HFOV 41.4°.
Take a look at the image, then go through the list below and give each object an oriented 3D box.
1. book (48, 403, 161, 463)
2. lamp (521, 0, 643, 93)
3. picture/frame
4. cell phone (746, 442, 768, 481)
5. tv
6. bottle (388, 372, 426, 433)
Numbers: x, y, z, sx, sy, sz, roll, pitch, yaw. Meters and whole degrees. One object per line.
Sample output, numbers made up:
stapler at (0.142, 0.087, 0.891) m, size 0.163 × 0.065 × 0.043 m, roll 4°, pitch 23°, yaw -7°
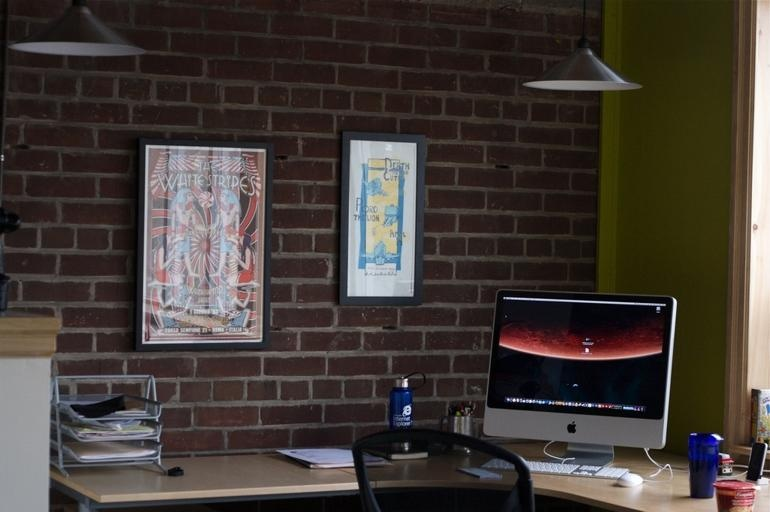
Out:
book at (-1.143, 0.738, 4.160) m, size 0.282 × 0.192 × 0.338 m, roll 2°, pitch -2°, yaw -17°
lamp at (0.819, -0.812, 4.267) m, size 0.398 × 0.215 × 0.356 m, roll -2°, pitch 9°, yaw -18°
picture/frame at (-0.525, -0.080, 4.581) m, size 1.066 × 0.724 × 0.051 m, roll 0°, pitch 0°, yaw -21°
cell phone at (1.498, 0.823, 4.081) m, size 0.037 × 0.155 × 0.079 m, roll 16°, pitch -6°, yaw -41°
tv at (0.856, 0.530, 4.388) m, size 0.770 × 0.681 × 0.232 m, roll 2°, pitch 2°, yaw 18°
bottle at (0.089, 0.656, 4.636) m, size 0.166 × 0.252 × 0.291 m, roll 3°, pitch 9°, yaw 8°
